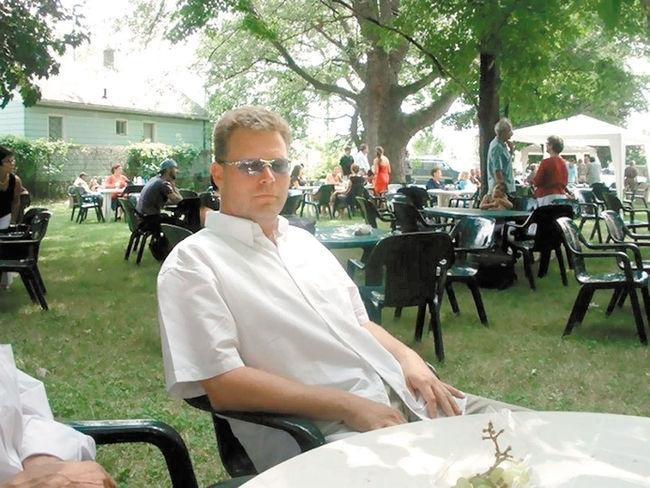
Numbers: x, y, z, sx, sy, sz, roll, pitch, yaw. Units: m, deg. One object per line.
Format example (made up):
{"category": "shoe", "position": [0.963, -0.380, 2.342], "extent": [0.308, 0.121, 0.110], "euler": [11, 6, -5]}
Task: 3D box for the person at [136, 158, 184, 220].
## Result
{"category": "person", "position": [-2.818, -0.948, 9.456], "extent": [0.749, 1.073, 0.798], "euler": [13, 11, -16]}
